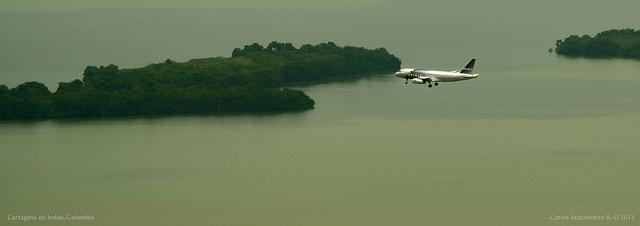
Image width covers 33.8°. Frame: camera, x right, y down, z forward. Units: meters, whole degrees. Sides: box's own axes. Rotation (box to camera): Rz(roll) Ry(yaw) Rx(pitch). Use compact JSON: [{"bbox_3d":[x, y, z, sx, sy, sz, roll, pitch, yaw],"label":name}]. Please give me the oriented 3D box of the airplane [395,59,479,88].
[{"bbox_3d":[13.453,-4.152,119.798,7.370,2.088,7.563,6,10,29],"label":"airplane"}]
